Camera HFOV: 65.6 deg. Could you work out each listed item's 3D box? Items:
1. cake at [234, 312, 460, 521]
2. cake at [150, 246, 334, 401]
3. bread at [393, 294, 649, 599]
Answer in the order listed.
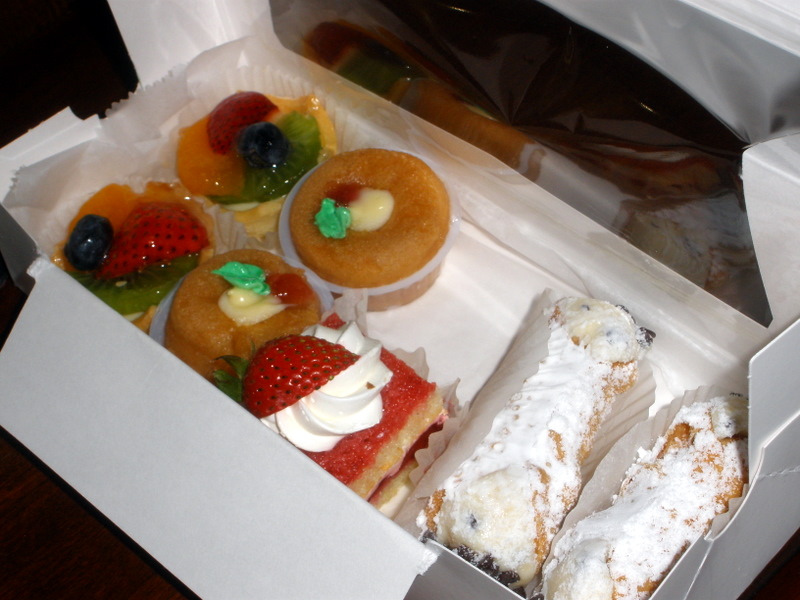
[{"bbox_3d":[-0.111,0.294,1.313,0.387,0.263,0.397,32,41,14],"label":"cake"},{"bbox_3d":[-0.345,0.033,1.436,0.300,0.276,0.311,-35,83,-19],"label":"cake"},{"bbox_3d":[0.292,0.292,1.412,0.361,0.263,0.738,30,74,14],"label":"bread"}]
